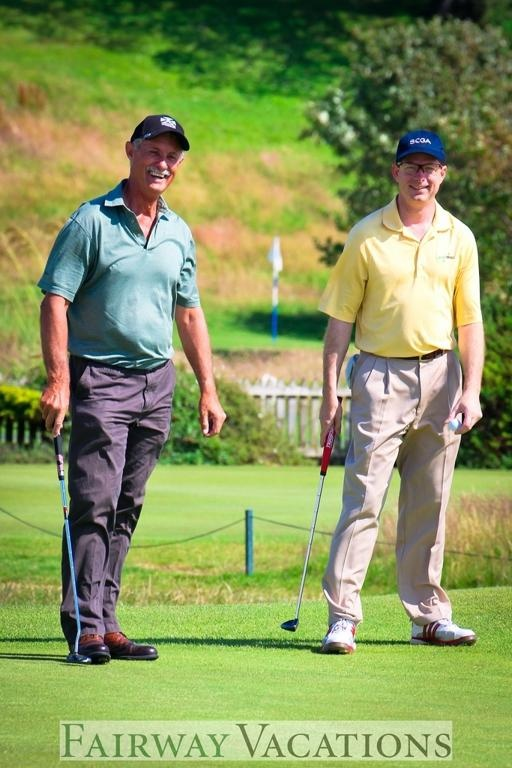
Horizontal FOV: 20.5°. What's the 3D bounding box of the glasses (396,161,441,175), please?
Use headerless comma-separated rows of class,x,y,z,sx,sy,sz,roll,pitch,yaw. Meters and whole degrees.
glasses,0.556,-0.739,4.920,0.182,0.059,0.101,2,6,15

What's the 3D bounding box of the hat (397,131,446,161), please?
hat,0.570,-0.825,4.938,0.166,0.119,0.202,1,5,11

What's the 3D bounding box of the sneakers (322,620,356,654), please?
sneakers,0.269,0.848,4.719,0.112,0.089,0.185,0,5,2

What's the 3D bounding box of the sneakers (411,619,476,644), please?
sneakers,0.636,0.866,4.943,0.241,0.095,0.085,-4,-6,26

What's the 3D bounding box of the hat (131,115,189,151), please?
hat,-0.334,-0.858,4.759,0.124,0.090,0.168,7,-1,-23

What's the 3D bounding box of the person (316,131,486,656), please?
person,0.515,0.029,4.852,0.589,1.775,0.484,0,6,-4

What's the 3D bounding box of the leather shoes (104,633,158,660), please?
leather shoes,-0.425,0.857,4.615,0.206,0.079,0.070,-1,-3,26

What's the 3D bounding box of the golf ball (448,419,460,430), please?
golf ball,0.672,0.141,4.809,0.040,0.041,0.057,0,5,-1

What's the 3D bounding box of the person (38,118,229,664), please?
person,-0.434,-0.005,4.717,0.375,1.764,0.841,4,7,31

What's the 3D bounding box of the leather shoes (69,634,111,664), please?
leather shoes,-0.526,0.835,4.434,0.060,0.058,0.127,8,-13,-25
